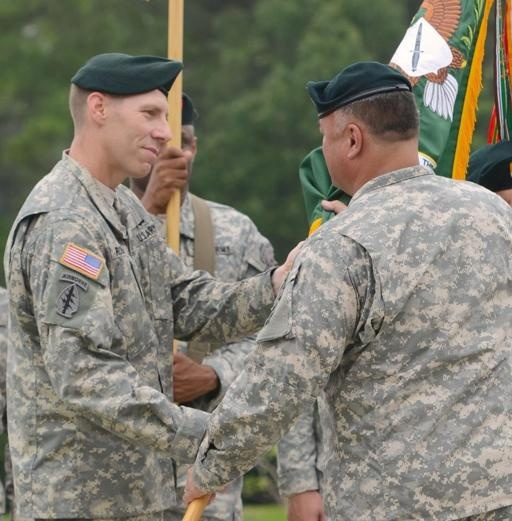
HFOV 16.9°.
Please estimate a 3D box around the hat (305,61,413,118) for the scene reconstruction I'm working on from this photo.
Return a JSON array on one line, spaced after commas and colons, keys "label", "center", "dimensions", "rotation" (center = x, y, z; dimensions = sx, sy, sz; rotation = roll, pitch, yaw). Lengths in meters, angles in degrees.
[{"label": "hat", "center": [0.440, -0.748, 7.431], "dimensions": [0.336, 0.137, 0.257], "rotation": [-11, -5, 5]}]
